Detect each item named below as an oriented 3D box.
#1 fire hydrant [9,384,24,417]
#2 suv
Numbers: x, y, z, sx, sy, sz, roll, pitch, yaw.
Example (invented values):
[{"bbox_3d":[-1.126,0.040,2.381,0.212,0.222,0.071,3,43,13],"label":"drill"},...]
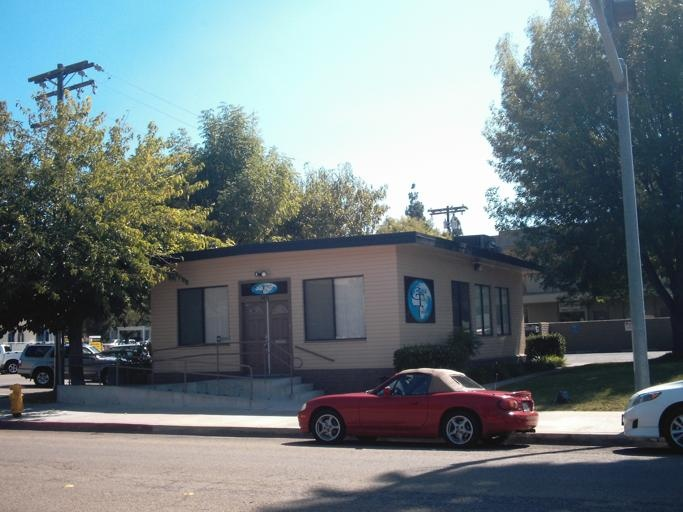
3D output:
[{"bbox_3d":[-9.981,4.416,24.460,0.374,0.974,0.675,3,-11,-24],"label":"fire hydrant"},{"bbox_3d":[-11.606,4.494,34.239,3.259,2.045,6.382,6,-14,-34],"label":"suv"}]
